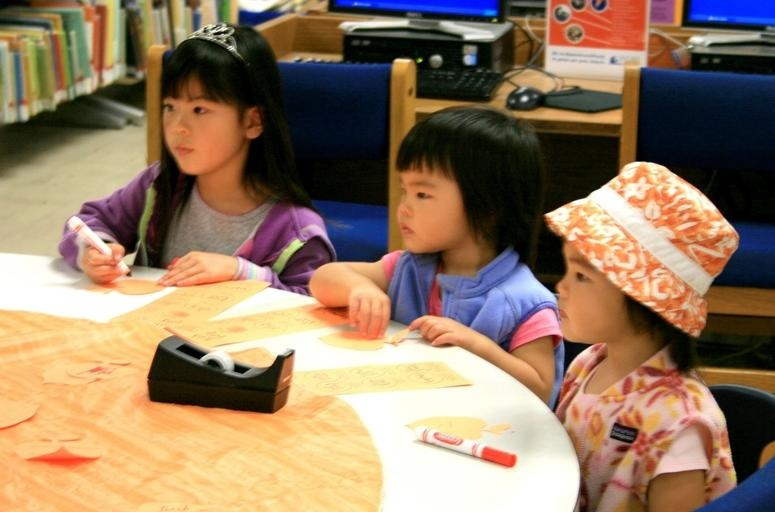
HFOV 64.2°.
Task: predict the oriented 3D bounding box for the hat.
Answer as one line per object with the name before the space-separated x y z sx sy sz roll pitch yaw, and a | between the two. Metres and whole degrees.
hat | 0.399 -0.014 1.027 0.292 0.265 0.135 11 25 25

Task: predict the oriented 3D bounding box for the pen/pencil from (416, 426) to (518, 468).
pen/pencil | 0.102 0.254 0.814 0.103 0.017 0.018 13 16 21
